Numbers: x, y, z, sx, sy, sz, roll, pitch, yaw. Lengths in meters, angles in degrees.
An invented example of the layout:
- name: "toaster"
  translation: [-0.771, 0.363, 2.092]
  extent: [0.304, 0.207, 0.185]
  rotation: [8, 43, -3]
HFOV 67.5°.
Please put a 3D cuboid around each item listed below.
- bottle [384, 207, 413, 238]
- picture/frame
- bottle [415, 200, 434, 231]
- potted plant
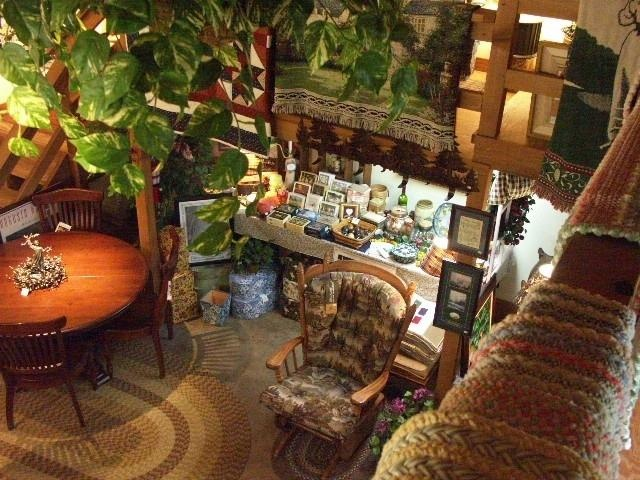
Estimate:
- name: "bottle"
  translation: [0.793, -0.163, 4.852]
  extent: [0.294, 0.310, 0.188]
  rotation: [15, 19, 15]
- name: "picture/frame"
  translation: [1.042, 0.251, 3.526]
  extent: [0.345, 1.032, 0.196]
  rotation: [16, 20, 21]
- name: "bottle"
  translation: [1.050, -0.239, 4.817]
  extent: [0.215, 0.341, 0.200]
  rotation: [0, 21, 0]
- name: "potted plant"
  translation: [-0.738, 0.402, 5.024]
  extent: [0.535, 0.682, 0.767]
  rotation: [6, 35, 8]
